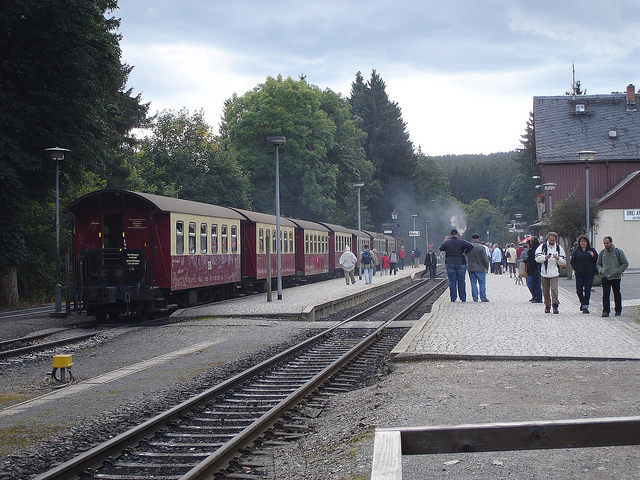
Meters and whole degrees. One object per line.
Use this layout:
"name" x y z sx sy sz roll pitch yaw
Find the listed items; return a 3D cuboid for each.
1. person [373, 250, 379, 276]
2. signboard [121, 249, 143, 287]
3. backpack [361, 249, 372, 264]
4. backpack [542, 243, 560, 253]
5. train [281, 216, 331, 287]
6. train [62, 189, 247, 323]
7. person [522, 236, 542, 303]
"person" 3.347 1.339 43.459 0.219 1.690 0.207 4 1 -9
"signboard" -5.492 0.672 21.181 0.589 1.246 0.110 0 -6 12
"backpack" 2.387 0.869 36.770 0.563 1.013 0.493 1 -6 1
"backpack" 6.226 0.204 19.341 0.275 0.302 0.242 0 -12 14
"train" -0.039 0.495 40.215 1.818 3.320 8.853 -14 -3 10
"train" -5.023 0.548 25.128 2.772 4.060 9.139 -2 -2 12
"person" 6.440 0.899 21.798 0.546 2.076 0.751 0 -1 26
